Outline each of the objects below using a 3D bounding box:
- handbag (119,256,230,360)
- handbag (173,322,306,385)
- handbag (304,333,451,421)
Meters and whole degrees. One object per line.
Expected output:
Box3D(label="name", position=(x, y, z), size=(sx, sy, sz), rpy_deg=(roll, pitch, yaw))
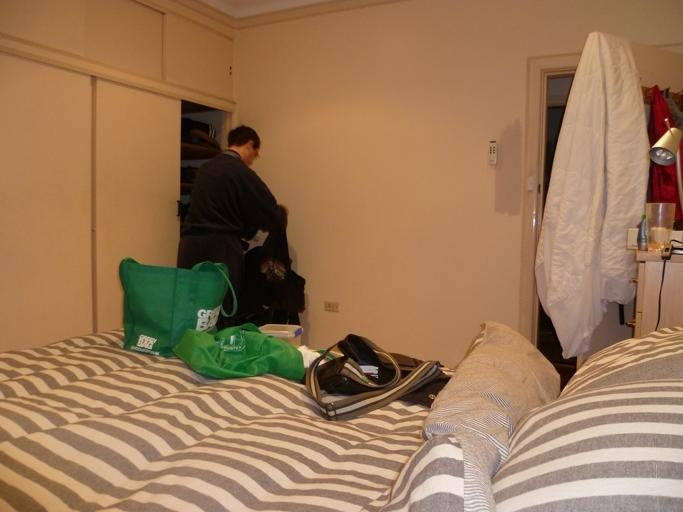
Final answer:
Box3D(label="handbag", position=(-0.682, 0.184, 2.198), size=(0.376, 0.343, 0.369), rpy_deg=(2, -1, 27))
Box3D(label="handbag", position=(-0.368, 0.345, 1.878), size=(0.290, 0.115, 0.249), rpy_deg=(6, 0, -22))
Box3D(label="handbag", position=(0.109, 0.413, 1.843), size=(0.340, 0.120, 0.277), rpy_deg=(-1, 10, 13))
